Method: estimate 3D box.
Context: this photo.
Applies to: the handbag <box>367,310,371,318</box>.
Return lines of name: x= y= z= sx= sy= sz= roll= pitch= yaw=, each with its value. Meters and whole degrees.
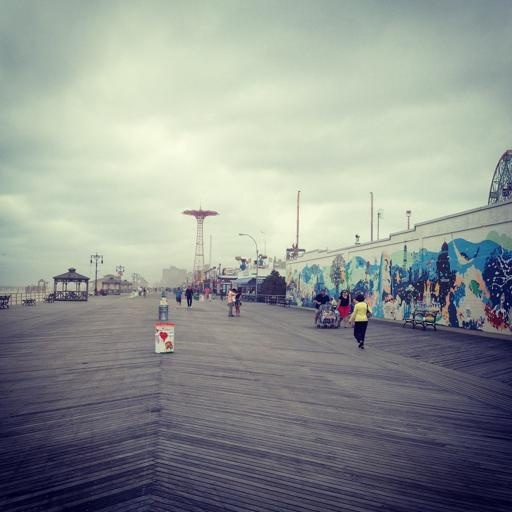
handbag: x=3.301 y=1.739 z=15.895 sx=0.056 sy=0.200 sz=0.128 roll=3 pitch=14 yaw=21

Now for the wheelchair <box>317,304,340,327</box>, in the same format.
wheelchair: x=3.171 y=2.686 z=23.943 sx=0.997 sy=1.028 sz=1.003 roll=1 pitch=-1 yaw=-11

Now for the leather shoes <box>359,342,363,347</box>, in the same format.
leather shoes: x=3.073 y=2.635 z=15.864 sx=0.131 sy=0.184 sz=0.374 roll=0 pitch=-2 yaw=8

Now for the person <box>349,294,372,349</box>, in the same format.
person: x=3.167 y=1.987 z=16.554 sx=0.557 sy=1.627 sz=2.116 roll=0 pitch=-2 yaw=11
